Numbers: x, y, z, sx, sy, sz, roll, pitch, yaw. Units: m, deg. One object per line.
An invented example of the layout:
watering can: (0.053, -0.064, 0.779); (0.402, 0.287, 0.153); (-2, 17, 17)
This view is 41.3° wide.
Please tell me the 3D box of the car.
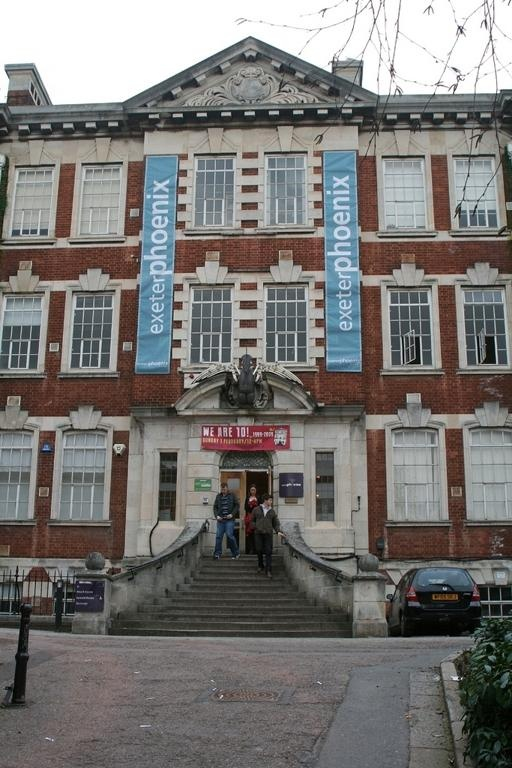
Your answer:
car: (3.826, 4.745, 14.807); (1.507, 1.515, 1.851); (0, -10, -4)

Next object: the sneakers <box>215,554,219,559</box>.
sneakers: (-1.158, 5.107, 20.125); (0.104, 0.116, 0.196); (4, -15, -2)

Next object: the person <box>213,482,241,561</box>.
person: (-0.884, 4.019, 19.938); (0.691, 2.116, 0.955); (0, -11, -2)
